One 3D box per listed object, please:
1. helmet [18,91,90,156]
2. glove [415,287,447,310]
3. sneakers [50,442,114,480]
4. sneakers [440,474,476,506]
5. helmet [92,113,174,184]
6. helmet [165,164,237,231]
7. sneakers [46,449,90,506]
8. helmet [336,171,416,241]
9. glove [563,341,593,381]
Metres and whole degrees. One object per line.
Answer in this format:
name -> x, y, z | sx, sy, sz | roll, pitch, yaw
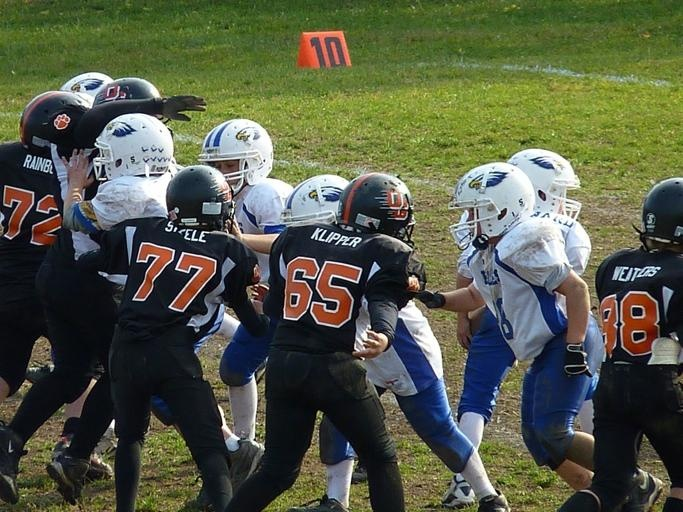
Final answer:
helmet -> -2.352, -1.121, 9.052 | 0.459, 0.555, 0.402 | 40, -3, -10
glove -> 0.658, 0.310, 8.337 | 0.221, 0.090, 0.138 | 13, -17, 38
sneakers -> -2.028, 1.602, 8.542 | 0.408, 0.172, 0.136 | 45, -9, -29
sneakers -> 0.905, 1.819, 8.513 | 0.172, 0.198, 0.307 | 0, 6, -1
helmet -> -1.606, -0.827, 8.495 | 0.672, 0.448, 0.444 | 2, 4, 1
helmet -> -0.992, -0.455, 8.041 | 0.443, 0.439, 0.518 | 13, 20, 32
sneakers -> -2.044, 1.727, 8.442 | 0.205, 0.520, 0.241 | 14, 54, 34
helmet -> 0.260, -0.341, 7.762 | 0.600, 0.407, 0.435 | -3, 10, -39
glove -> 1.718, 0.759, 7.972 | 0.225, 0.233, 0.117 | -1, 11, 11
